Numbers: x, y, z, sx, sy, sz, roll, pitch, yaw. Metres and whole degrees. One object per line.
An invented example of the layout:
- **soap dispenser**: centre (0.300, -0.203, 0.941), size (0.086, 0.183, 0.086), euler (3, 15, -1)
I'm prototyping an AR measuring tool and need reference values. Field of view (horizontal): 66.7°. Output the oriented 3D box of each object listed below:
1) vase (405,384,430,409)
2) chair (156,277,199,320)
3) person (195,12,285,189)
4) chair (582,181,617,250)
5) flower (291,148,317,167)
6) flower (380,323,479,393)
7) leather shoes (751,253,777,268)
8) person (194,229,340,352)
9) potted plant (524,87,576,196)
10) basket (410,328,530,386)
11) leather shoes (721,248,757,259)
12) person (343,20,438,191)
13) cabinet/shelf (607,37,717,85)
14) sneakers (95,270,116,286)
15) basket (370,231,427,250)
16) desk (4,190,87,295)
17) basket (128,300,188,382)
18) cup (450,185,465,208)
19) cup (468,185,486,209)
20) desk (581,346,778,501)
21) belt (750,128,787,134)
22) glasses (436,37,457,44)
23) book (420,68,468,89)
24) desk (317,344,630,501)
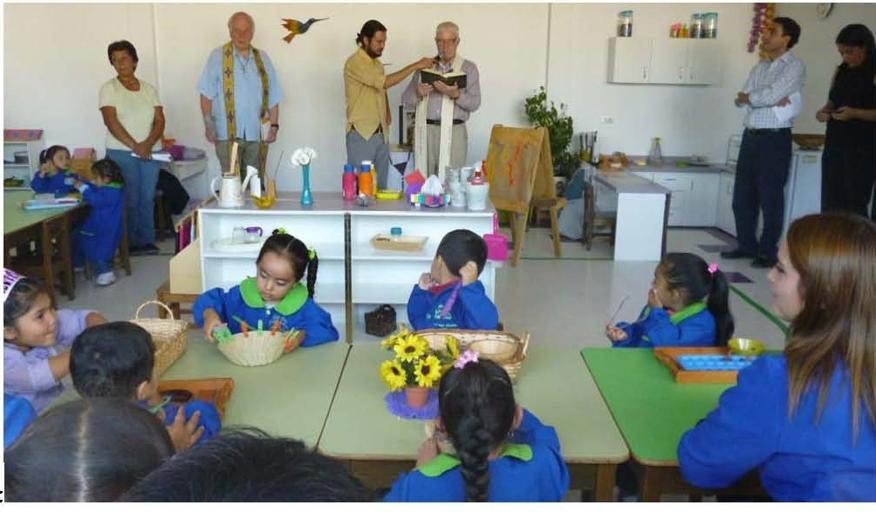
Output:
- **vase**: centre (-0.089, 0.566, 2.687), size (0.100, 0.066, 0.094), euler (1, 10, 3)
- **chair**: centre (-1.692, 0.273, 4.319), size (0.295, 0.258, 0.276), euler (-1, 19, -3)
- **person**: centre (-1.776, -1.328, 6.036), size (0.727, 1.209, 0.393), euler (-5, 12, -17)
- **chair**: centre (1.708, -0.433, 7.122), size (0.318, 0.625, 0.714), euler (1, 11, 11)
- **flower**: centre (-0.917, -0.670, 4.469), size (0.144, 0.107, 0.229), euler (-3, 11, -11)
- **flower**: centre (-0.067, 0.397, 2.707), size (0.321, 0.125, 0.284), euler (10, 50, 10)
- **leather shoes**: centre (2.948, 0.040, 6.021), size (0.290, 0.103, 0.096), euler (-7, 16, -19)
- **person**: centre (-0.855, 0.257, 3.326), size (0.702, 0.698, 0.523), euler (12, 27, 2)
- **potted plant**: centre (1.355, -1.406, 7.981), size (0.650, 1.279, 0.724), euler (0, 11, 6)
- **basket**: centre (0.169, 0.418, 2.879), size (0.362, 0.107, 0.248), euler (5, 13, 4)
- **leather shoes**: centre (2.944, -0.029, 6.606), size (0.345, 0.130, 0.117), euler (4, 14, 6)
- **person**: centre (-0.508, -1.345, 6.044), size (0.675, 1.475, 0.858), euler (-3, 11, -8)
- **cabinet/shelf**: centre (2.775, -2.356, 8.023), size (1.364, 0.547, 0.210), euler (-4, 12, -15)
- **sneakers**: centre (-2.843, 0.187, 5.667), size (0.111, 0.064, 0.160), euler (-5, 12, -10)
- **basket**: centre (-0.270, -0.097, 4.548), size (0.260, 0.052, 0.156), euler (4, 15, 5)
- **desk**: centre (-2.942, -0.114, 4.995), size (0.573, 0.637, 0.719), euler (4, 20, 3)
- **basket**: centre (-1.256, 0.383, 3.006), size (0.301, 0.348, 0.387), euler (0, 7, -11)
- **cup**: centre (0.117, -0.430, 4.618), size (0.115, 0.160, 0.127), euler (1, 11, 11)
- **cup**: centre (0.264, -0.413, 4.562), size (0.138, 0.179, 0.190), euler (-1, 11, 1)
- **desk**: centre (0.907, 0.628, 2.712), size (0.613, 0.378, 0.750), euler (1, 24, 1)
- **belt**: centre (3.021, -1.154, 6.091), size (0.318, 0.048, 0.085), euler (5, 12, 28)
- **glasses**: centre (0.079, -1.901, 5.844), size (0.180, 0.043, 0.132), euler (-2, 11, -8)
- **book**: centre (0.042, -1.561, 5.829), size (0.403, 0.145, 0.212), euler (-1, 11, 0)
- **desk**: centre (0.167, 0.765, 2.879), size (0.831, 0.448, 0.742), euler (0, 15, 3)
